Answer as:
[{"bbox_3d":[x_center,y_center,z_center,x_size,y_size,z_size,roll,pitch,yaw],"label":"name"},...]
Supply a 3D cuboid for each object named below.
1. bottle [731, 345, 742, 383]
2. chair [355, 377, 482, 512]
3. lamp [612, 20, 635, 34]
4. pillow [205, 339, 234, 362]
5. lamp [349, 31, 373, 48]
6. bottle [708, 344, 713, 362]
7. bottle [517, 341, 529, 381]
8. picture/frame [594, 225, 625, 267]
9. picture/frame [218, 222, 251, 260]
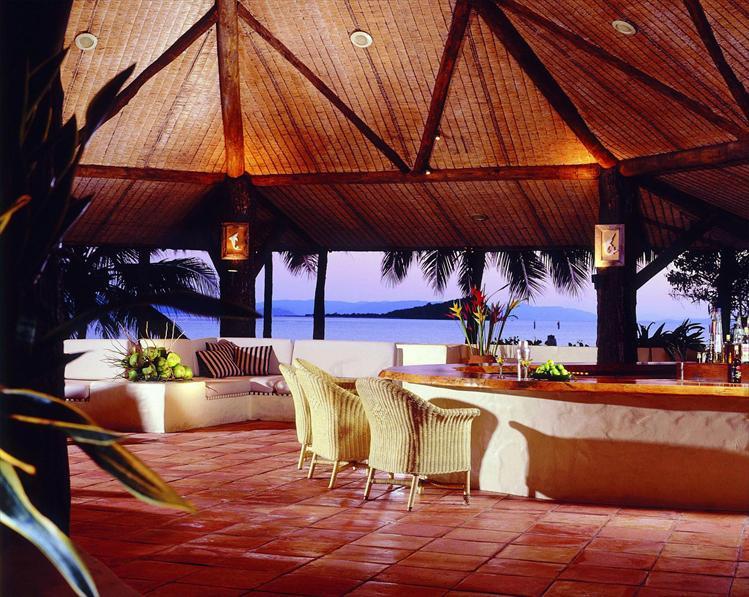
[{"bbox_3d":[2.301,0.429,4.531,0.091,0.240,0.048,-1,0,-19],"label":"bottle"},{"bbox_3d":[0.275,0.795,4.821,0.766,1.106,0.838,0,-1,-38],"label":"chair"},{"bbox_3d":[2.433,-2.627,6.967,0.216,0.065,0.346,-1,0,19],"label":"lamp"},{"bbox_3d":[-1.909,0.617,8.986,0.258,0.083,0.258,19,29,-24],"label":"pillow"},{"bbox_3d":[-0.150,-3.000,8.263,0.219,0.150,0.276,-1,0,6],"label":"lamp"},{"bbox_3d":[2.307,0.386,4.899,0.045,0.107,0.139,-1,0,25],"label":"bottle"},{"bbox_3d":[1.012,0.433,4.864,0.079,0.251,0.263,-1,0,11],"label":"bottle"},{"bbox_3d":[3.169,-0.693,9.559,0.474,0.795,0.061,0,-1,12],"label":"picture/frame"},{"bbox_3d":[-2.057,-0.863,11.170,0.458,0.536,0.685,-1,4,-2],"label":"picture/frame"}]
